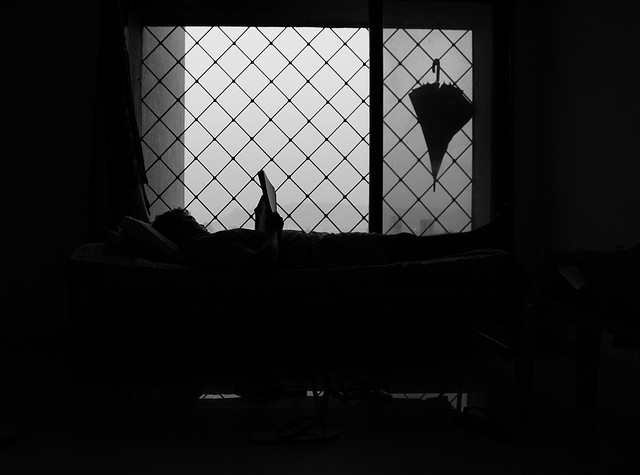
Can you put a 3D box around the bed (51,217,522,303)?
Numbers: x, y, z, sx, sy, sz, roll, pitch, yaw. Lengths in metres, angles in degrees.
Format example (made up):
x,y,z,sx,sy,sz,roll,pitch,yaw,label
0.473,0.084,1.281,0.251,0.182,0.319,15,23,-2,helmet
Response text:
x,y,z,sx,sy,sz,roll,pitch,yaw,label
-0.234,0.126,2.392,0.891,0.244,0.661,-3,-5,-8,bed

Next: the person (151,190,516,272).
x,y,z,sx,sy,sz,roll,pitch,yaw,label
0.064,0.020,2.644,1.407,0.327,0.533,-1,-1,0,person

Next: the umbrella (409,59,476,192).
x,y,z,sx,sy,sz,roll,pitch,yaw,label
0.663,-0.602,3.753,0.282,0.513,0.252,-16,-30,33,umbrella
